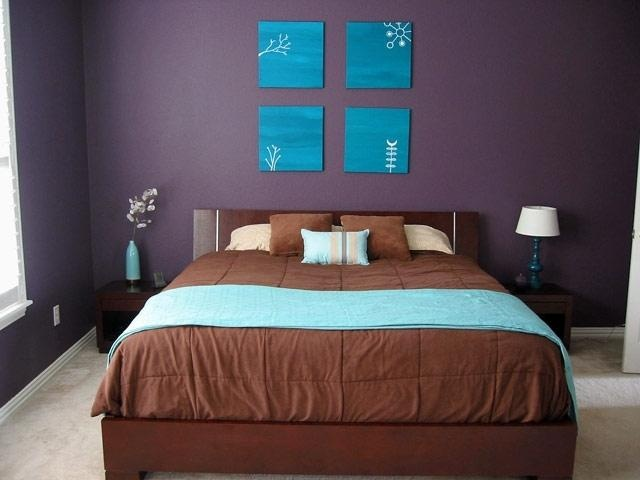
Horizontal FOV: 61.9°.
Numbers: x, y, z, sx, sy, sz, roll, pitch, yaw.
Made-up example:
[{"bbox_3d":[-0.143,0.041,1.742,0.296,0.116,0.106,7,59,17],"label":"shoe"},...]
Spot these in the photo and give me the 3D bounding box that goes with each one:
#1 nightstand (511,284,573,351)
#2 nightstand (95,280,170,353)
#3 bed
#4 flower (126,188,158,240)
[{"bbox_3d":[1.900,0.659,4.775,0.526,0.560,0.561,-1,5,7],"label":"nightstand"},{"bbox_3d":[-1.567,0.668,4.685,0.555,0.586,0.584,-1,4,-4],"label":"nightstand"},{"bbox_3d":[0.090,0.767,3.551,2.611,1.095,1.432,-2,10,1],"label":"bed"},{"bbox_3d":[-1.587,-0.262,4.745,0.310,0.618,0.088,14,30,-4],"label":"flower"}]
